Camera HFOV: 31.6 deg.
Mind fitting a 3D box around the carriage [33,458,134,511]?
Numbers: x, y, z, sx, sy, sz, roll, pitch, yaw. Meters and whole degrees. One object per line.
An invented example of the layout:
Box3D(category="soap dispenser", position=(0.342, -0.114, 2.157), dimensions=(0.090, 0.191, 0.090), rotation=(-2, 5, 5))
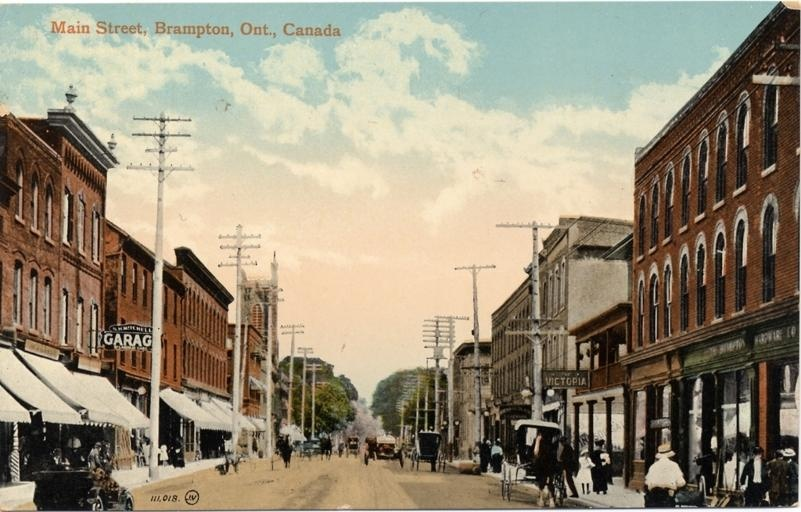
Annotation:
Box3D(category="carriage", position=(-12.034, 8.951, 53.544), dimensions=(2.364, 2.088, 5.012), rotation=(0, -1, 0))
